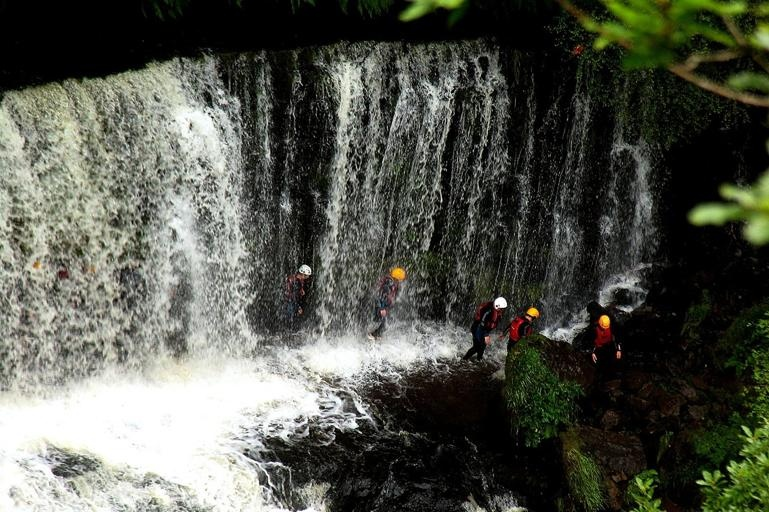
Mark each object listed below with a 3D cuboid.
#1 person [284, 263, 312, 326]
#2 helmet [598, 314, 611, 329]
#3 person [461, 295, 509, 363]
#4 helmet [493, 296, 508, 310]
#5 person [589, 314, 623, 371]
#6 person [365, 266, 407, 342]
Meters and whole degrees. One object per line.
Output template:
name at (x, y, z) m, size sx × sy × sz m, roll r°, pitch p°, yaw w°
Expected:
person at (-2.157, 0.906, 22.164) m, size 0.426 × 1.382 × 0.506 m, roll -7°, pitch 59°, yaw -17°
helmet at (5.063, 1.470, 20.759) m, size 0.239 × 0.302 × 0.298 m, roll 3°, pitch 21°, yaw 15°
person at (2.450, 1.798, 22.171) m, size 0.554 × 1.517 × 0.571 m, roll 29°, pitch 47°, yaw 13°
helmet at (2.720, 1.126, 21.356) m, size 0.229 × 0.287 × 0.325 m, roll -3°, pitch -3°, yaw -13°
person at (5.119, 2.123, 20.968) m, size 0.632 × 1.732 × 0.612 m, roll -7°, pitch 34°, yaw 4°
person at (-0.004, 1.174, 22.567) m, size 0.492 × 1.630 × 0.714 m, roll 7°, pitch 52°, yaw -5°
